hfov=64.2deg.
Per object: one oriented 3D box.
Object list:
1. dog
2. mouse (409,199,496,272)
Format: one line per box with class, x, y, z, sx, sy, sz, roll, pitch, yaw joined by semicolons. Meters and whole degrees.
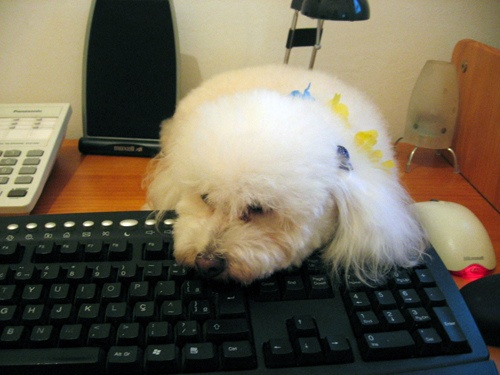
dog;0.038;-0.081;0.695;0.417;0.213;0.530;-8;47;-14
mouse;0.307;0.074;0.615;0.074;0.043;0.120;-2;35;-8
